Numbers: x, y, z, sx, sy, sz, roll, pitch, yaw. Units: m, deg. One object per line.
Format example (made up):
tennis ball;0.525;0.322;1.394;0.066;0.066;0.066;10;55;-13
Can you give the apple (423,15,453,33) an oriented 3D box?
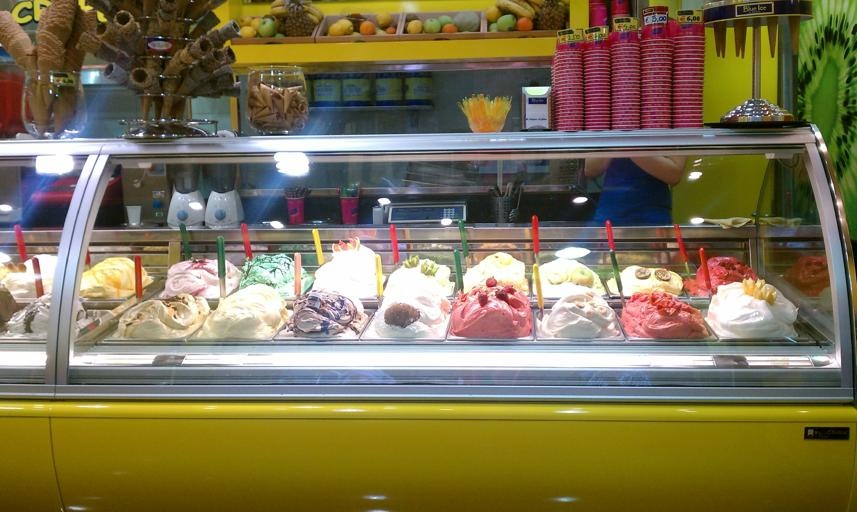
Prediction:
apple;0.062;-1.572;4.802;0.155;0.099;0.185;0;28;11

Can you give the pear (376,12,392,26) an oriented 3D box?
pear;-0.319;-1.631;4.906;0.127;0.088;0.100;1;23;-19

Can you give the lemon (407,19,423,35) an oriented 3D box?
lemon;-0.099;-1.560;4.808;0.136;0.102;0.076;3;8;17

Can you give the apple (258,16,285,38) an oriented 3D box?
apple;-1.092;-1.554;4.829;0.148;0.131;0.166;18;9;14

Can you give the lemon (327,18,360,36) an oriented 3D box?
lemon;-0.577;-1.559;4.872;0.107;0.078;0.187;-29;-10;36

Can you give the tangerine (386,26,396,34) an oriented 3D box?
tangerine;-0.259;-1.542;4.861;0.069;0.056;0.114;0;7;-2

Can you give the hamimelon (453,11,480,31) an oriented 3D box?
hamimelon;0.254;-1.583;4.841;0.158;0.079;0.151;1;-5;-41

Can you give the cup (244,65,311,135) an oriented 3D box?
cup;-0.551;-0.571;2.610;0.283;0.230;0.257;1;11;5

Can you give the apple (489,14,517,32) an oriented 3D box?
apple;0.501;-1.558;4.747;0.171;0.098;0.096;-10;16;15

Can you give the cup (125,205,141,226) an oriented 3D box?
cup;-1.462;-0.203;3.505;0.095;0.109;0.103;0;11;0

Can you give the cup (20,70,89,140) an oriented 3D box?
cup;-1.412;-0.579;2.704;0.267;0.225;0.250;0;13;0

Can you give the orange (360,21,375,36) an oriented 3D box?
orange;-0.406;-1.539;4.850;0.120;0.102;0.110;12;15;-6
